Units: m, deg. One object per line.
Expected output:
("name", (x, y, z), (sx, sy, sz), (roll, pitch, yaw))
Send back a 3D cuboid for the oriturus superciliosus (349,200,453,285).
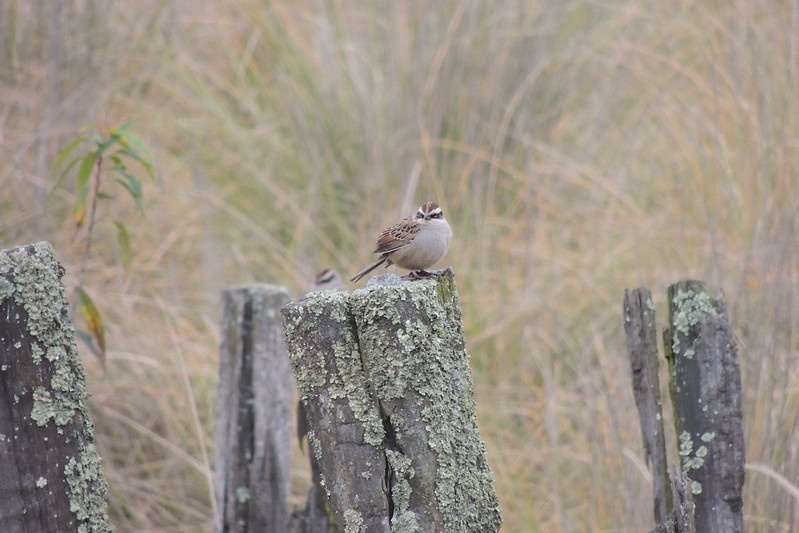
("oriturus superciliosus", (0.022, -0.286, 15.402), (0.993, 0.760, 0.517), (6, 9, 33))
